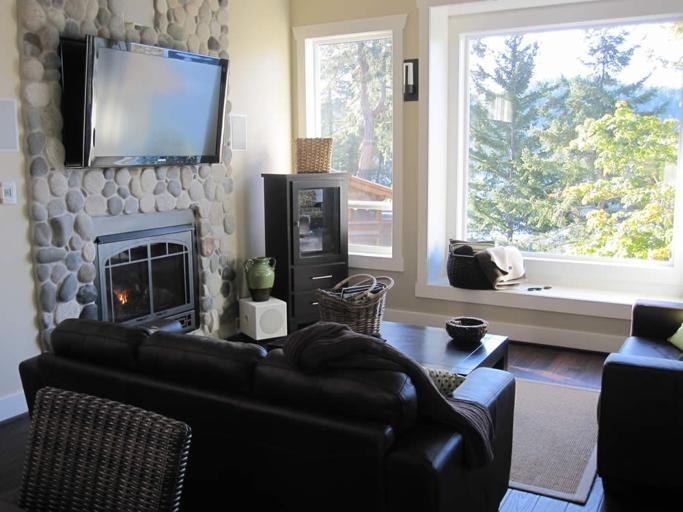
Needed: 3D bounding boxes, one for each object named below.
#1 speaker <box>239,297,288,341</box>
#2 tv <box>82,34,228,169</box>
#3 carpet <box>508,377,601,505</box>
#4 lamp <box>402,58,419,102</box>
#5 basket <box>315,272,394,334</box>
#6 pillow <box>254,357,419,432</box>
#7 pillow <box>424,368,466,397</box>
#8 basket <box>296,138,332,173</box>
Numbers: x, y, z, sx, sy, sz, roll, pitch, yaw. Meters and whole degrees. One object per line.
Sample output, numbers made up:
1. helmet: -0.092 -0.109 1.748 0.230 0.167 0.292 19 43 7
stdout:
1. speaker: -0.720 0.561 4.912 0.376 0.403 0.369 5 8 45
2. tv: -1.435 -1.168 3.989 0.048 0.815 1.124 12 14 37
3. carpet: 1.276 1.123 3.191 0.400 0.014 0.871 2 12 22
4. lamp: 0.653 -1.670 5.018 0.176 0.393 0.065 10 15 41
5. basket: 0.104 0.283 3.608 0.474 0.384 0.399 -1 2 -31
6. pillow: -0.015 0.466 1.954 0.357 0.101 0.276 5 6 22
7. pillow: 0.493 0.568 2.472 0.141 0.066 0.147 12 8 23
8. basket: -0.265 -0.925 5.001 0.283 0.286 0.344 0 4 -2
